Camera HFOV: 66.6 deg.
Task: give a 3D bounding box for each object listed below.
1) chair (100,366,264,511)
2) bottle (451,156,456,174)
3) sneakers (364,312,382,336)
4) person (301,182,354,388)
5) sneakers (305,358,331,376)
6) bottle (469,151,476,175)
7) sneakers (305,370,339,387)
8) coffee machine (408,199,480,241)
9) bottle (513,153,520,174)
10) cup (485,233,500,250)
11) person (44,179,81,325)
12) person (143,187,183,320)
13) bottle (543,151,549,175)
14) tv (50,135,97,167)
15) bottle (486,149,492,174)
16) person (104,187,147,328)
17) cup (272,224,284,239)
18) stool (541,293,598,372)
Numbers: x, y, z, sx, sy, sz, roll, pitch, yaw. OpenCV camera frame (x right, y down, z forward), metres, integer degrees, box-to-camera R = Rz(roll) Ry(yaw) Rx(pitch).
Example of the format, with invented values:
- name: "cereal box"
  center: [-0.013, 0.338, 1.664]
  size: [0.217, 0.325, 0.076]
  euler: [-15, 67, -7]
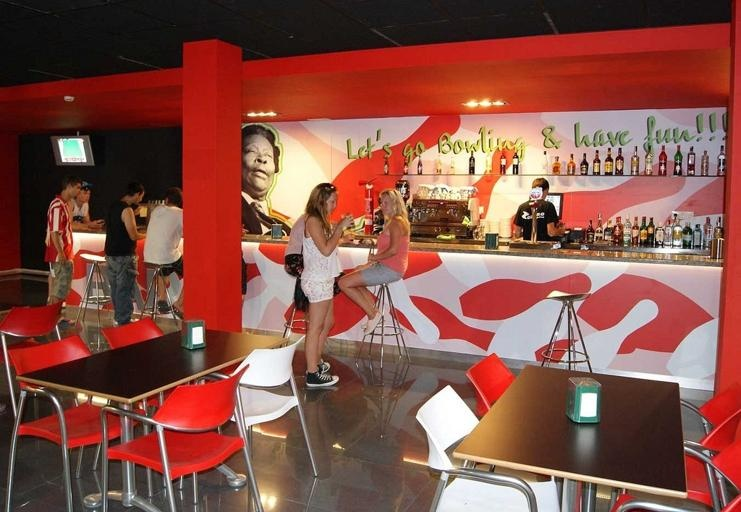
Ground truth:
- name: "chair"
  center: [-1.214, 1.280, 3.608]
  size: [0.972, 1.114, 0.575]
  euler: [-2, 12, -12]
- name: "bottle"
  center: [1.269, -1.367, 8.614]
  size: [0.098, 0.216, 0.089]
  euler: [3, 12, 12]
- name: "sneakers"
  center: [0.023, 0.774, 6.343]
  size: [0.111, 0.285, 0.152]
  euler: [28, 28, -12]
- name: "person"
  center: [-0.478, 0.331, 5.722]
  size: [0.540, 2.098, 0.398]
  euler: [2, 12, 10]
- name: "sneakers"
  center: [-0.560, 1.213, 5.997]
  size: [0.111, 0.148, 0.341]
  euler: [5, 7, 18]
- name: "bottle"
  center: [1.530, -1.377, 8.442]
  size: [0.114, 0.326, 0.221]
  euler: [3, 12, 10]
- name: "sneakers"
  center: [-0.528, 1.287, 5.900]
  size: [0.378, 0.183, 0.142]
  euler: [-2, 9, -21]
- name: "coffee machine"
  center: [1.023, -0.549, 8.120]
  size: [0.830, 0.576, 0.606]
  euler: [3, 2, 16]
- name: "bottle"
  center: [2.131, -1.337, 8.205]
  size: [0.110, 0.320, 0.175]
  euler: [3, 12, 15]
- name: "cup"
  center: [1.419, -0.162, 6.530]
  size: [0.173, 0.185, 0.177]
  euler: [0, 0, 0]
- name: "person"
  center: [-4.290, -0.169, 7.843]
  size: [0.576, 1.781, 1.364]
  euler: [-6, 13, -30]
- name: "person"
  center: [-2.834, 0.021, 7.666]
  size: [0.513, 1.843, 0.696]
  euler: [-4, 12, -22]
- name: "bottle"
  center: [2.541, -1.332, 8.102]
  size: [0.089, 0.335, 0.119]
  euler: [4, 12, 16]
- name: "tv"
  center: [-5.948, -2.082, 11.209]
  size: [0.905, 0.568, 0.271]
  euler: [6, 13, 24]
- name: "bottle"
  center: [1.769, -1.360, 8.370]
  size: [0.085, 0.292, 0.151]
  euler: [3, 12, 11]
- name: "person"
  center: [-3.222, -0.020, 7.373]
  size: [0.499, 1.844, 0.479]
  euler: [-5, 13, -27]
- name: "cup"
  center: [-1.245, -0.318, 7.470]
  size: [0.197, 0.289, 0.199]
  euler: [1, 6, 0]
- name: "stool"
  center: [2.074, 0.809, 5.885]
  size: [0.546, 0.998, 0.760]
  euler: [5, 13, 23]
